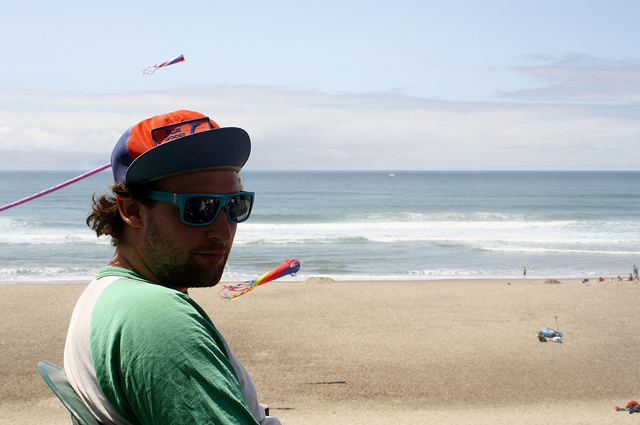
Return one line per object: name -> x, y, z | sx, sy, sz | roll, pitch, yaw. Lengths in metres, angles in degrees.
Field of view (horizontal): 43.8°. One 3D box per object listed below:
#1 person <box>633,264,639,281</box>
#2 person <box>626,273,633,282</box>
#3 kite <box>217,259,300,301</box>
person -> 18.213, 3.435, 45.813 | 0.291, 0.820, 0.912 | 4, 8, 24
person -> 17.744, 3.718, 45.615 | 0.335, 0.326, 0.835 | 3, 7, 22
kite -> -2.595, 2.778, 33.356 | 3.665, 0.871, 0.663 | -19, 30, -20
